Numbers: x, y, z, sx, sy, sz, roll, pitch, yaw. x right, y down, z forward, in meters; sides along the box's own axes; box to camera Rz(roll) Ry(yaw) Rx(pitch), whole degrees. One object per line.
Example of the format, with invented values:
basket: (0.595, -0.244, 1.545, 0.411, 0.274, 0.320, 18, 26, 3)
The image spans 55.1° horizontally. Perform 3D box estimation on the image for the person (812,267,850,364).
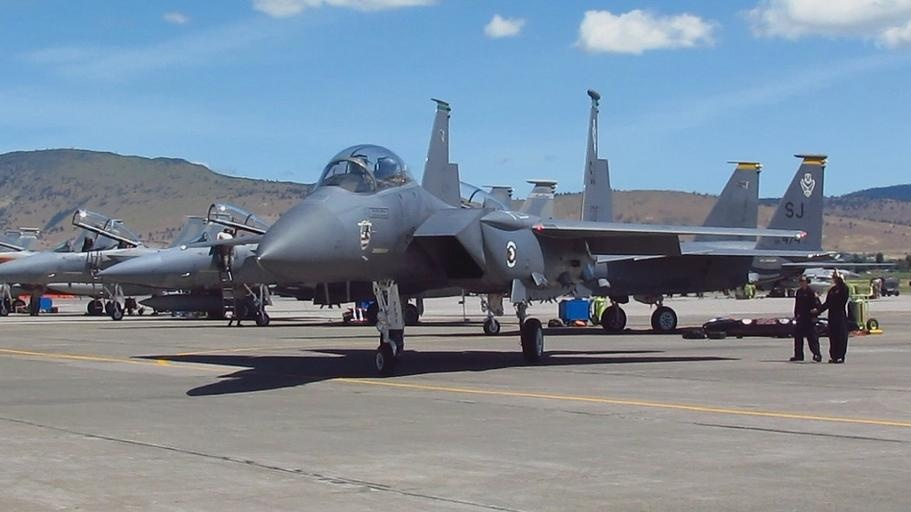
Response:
person: (8.656, 1.371, 19.889, 0.551, 2.057, 0.985, 2, 4, 22)

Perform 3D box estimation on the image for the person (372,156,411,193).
person: (-1.351, -1.730, 18.326, 0.425, 0.730, 1.143, 2, 3, 26)

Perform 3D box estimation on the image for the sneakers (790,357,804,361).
sneakers: (7.774, 2.332, 19.898, 0.261, 0.097, 0.264, 2, 3, 25)
